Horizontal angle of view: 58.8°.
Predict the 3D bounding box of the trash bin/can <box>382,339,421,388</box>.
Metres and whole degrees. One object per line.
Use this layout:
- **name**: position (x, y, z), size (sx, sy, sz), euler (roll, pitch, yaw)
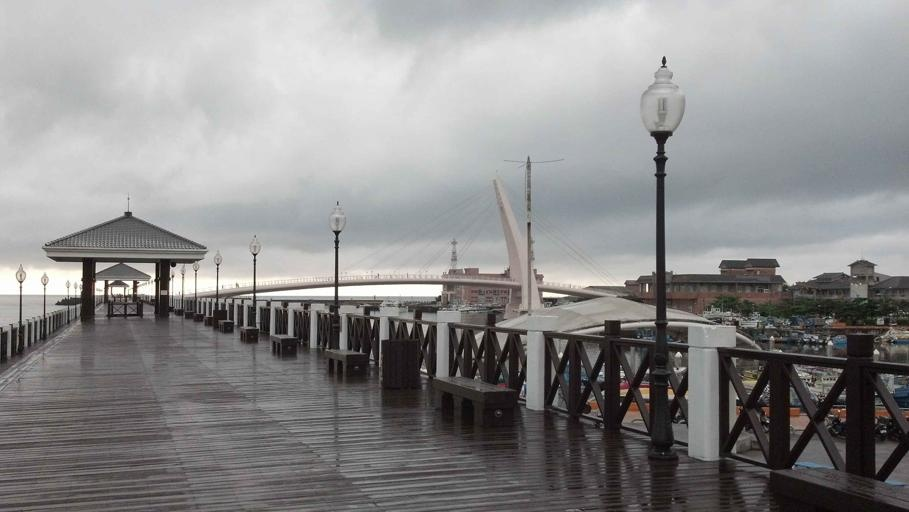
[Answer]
- **trash bin/can**: position (-1.204, 2.230, 16.882), size (0.931, 1.191, 0.905), euler (-1, -2, -6)
